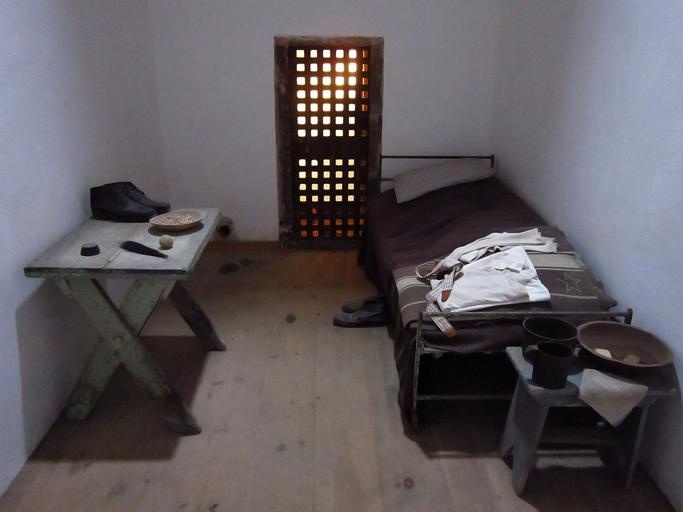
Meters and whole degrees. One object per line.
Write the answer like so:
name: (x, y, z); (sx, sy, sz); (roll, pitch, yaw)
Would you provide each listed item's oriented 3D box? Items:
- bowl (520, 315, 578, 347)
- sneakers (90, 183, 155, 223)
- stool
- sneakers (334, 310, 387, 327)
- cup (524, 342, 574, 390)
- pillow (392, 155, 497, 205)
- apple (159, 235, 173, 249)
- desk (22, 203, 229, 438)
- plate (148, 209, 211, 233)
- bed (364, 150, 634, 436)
bowl: (1.096, 0.431, 2.641); (0.220, 0.156, 0.171); (-5, 30, -3)
sneakers: (-1.500, -0.367, 3.481); (0.394, 0.252, 0.256); (4, 33, -12)
stool: (1.341, 0.882, 2.915); (0.902, 0.789, 0.725); (0, 44, 5)
sneakers: (0.149, 0.487, 3.875); (0.374, 0.119, 0.161); (1, 30, -3)
cup: (1.029, 0.525, 2.562); (0.164, 0.201, 0.261); (-13, 20, -31)
pillow: (0.921, -0.729, 4.506); (0.756, 0.188, 0.467); (-25, 24, 15)
apple: (-1.064, -0.081, 3.036); (0.064, 0.083, 0.065); (5, 69, -2)
desk: (-1.368, 0.364, 3.433); (0.874, 1.112, 1.240); (2, 20, -7)
plate: (-1.096, -0.241, 3.337); (0.231, 0.055, 0.212); (3, 31, 4)
bed: (0.990, -0.008, 4.016); (1.424, 0.932, 2.759); (-2, 26, 3)
